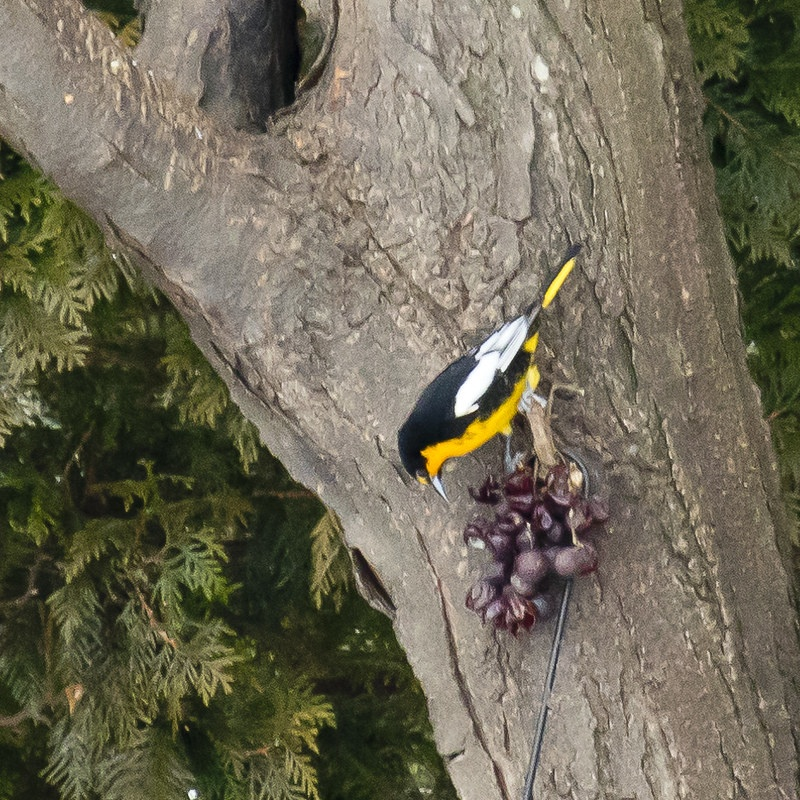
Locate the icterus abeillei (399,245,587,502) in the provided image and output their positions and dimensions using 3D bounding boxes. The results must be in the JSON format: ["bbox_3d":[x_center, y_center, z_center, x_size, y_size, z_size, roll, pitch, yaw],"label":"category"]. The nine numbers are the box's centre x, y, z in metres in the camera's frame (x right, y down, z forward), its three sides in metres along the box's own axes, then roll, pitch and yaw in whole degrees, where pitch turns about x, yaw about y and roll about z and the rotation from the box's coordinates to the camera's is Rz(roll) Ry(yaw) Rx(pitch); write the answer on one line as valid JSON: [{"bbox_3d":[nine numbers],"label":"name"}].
[{"bbox_3d":[0.298,-0.012,7.543,0.346,0.447,1.317,34,114,45],"label":"icterus abeillei"}]
